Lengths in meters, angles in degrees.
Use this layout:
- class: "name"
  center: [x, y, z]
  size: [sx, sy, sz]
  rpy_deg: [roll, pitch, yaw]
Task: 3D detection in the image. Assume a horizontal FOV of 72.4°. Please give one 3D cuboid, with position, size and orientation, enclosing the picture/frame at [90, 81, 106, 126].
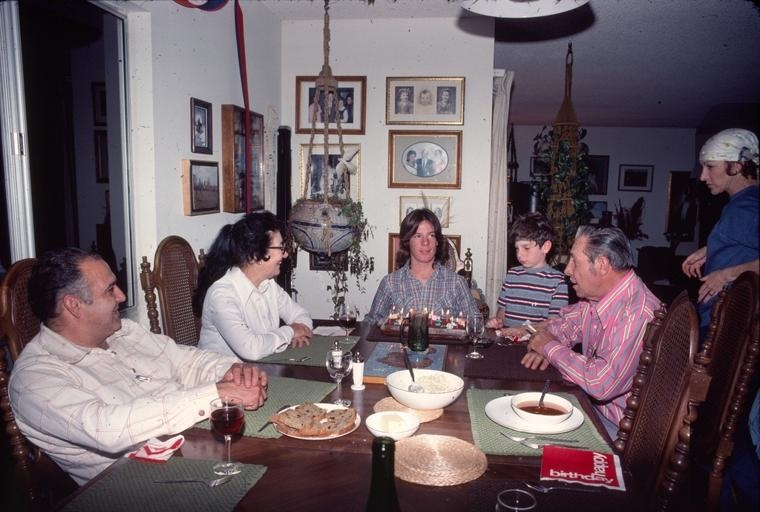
- class: "picture/frame"
  center: [-1.664, -0.914, 3.087]
  size: [0.024, 0.263, 0.109]
  rpy_deg: [4, 10, 26]

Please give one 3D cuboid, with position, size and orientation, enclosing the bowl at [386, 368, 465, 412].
- class: "bowl"
  center: [0.191, 0.557, 2.204]
  size: [0.192, 0.064, 0.195]
  rpy_deg: [-1, 4, 0]

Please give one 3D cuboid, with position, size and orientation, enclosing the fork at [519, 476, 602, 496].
- class: "fork"
  center: [0.612, 0.802, 1.800]
  size: [0.292, 0.052, 0.084]
  rpy_deg: [5, 12, -6]

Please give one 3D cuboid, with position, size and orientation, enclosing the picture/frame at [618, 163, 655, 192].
- class: "picture/frame"
  center: [4.525, -1.424, 9.130]
  size: [0.493, 0.466, 0.046]
  rpy_deg: [3, 11, 7]

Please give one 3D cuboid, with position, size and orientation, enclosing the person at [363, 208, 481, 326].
- class: "person"
  center: [0.369, 0.043, 4.042]
  size: [1.037, 0.962, 0.369]
  rpy_deg: [-1, 1, -2]

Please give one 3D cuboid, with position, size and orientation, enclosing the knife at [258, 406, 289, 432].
- class: "knife"
  center: [-0.422, 0.656, 2.121]
  size: [0.035, 0.014, 0.260]
  rpy_deg: [7, 15, 17]

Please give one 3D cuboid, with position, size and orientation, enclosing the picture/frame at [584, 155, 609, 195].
- class: "picture/frame"
  center: [3.821, -1.460, 9.209]
  size: [0.441, 0.715, 0.236]
  rpy_deg: [-6, 10, -30]

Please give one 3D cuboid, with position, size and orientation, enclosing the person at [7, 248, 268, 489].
- class: "person"
  center: [-1.053, 0.367, 2.638]
  size: [1.072, 1.354, 0.948]
  rpy_deg: [-3, 18, 0]

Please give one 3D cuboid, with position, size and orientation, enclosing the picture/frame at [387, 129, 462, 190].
- class: "picture/frame"
  center: [0.445, -0.930, 4.830]
  size: [0.565, 0.437, 0.045]
  rpy_deg: [1, 4, 2]

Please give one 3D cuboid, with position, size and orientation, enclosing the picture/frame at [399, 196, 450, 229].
- class: "picture/frame"
  center: [0.474, -0.428, 4.959]
  size: [0.018, 0.351, 0.557]
  rpy_deg: [-24, 18, -28]

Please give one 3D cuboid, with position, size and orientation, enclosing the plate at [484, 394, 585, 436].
- class: "plate"
  center: [0.613, 0.651, 2.106]
  size: [0.203, 0.030, 0.206]
  rpy_deg: [4, 10, 21]

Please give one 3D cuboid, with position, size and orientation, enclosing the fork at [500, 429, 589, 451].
- class: "fork"
  center: [0.621, 0.715, 1.999]
  size: [0.338, 0.051, 0.087]
  rpy_deg: [4, 12, 0]
